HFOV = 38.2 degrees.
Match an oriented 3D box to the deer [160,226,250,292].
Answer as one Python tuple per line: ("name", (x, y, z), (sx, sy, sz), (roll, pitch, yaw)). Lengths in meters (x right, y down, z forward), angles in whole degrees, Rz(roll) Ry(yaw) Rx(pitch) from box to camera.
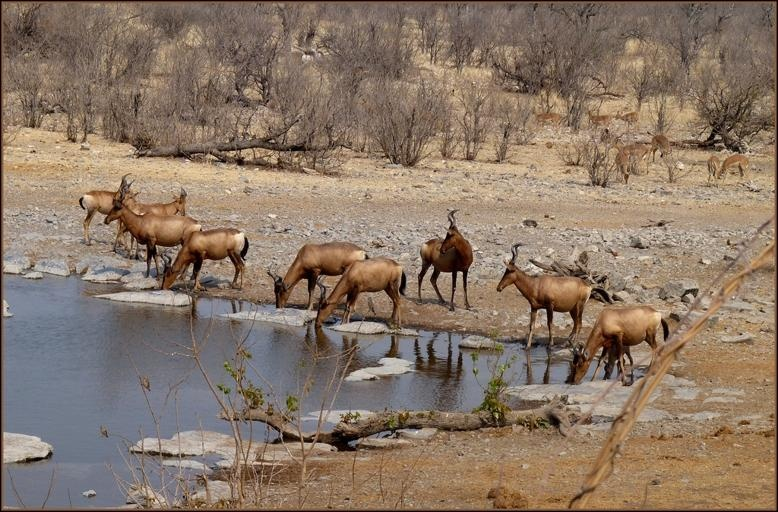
("deer", (-5.725, 0.103, 35.026), (2.452, 1.985, 0.711), (3, 6, -14))

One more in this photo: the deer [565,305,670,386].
("deer", (5.984, 2.412, 29.660), (3.139, 1.848, 0.823), (-23, 10, -5))

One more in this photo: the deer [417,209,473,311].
("deer", (1.824, 0.192, 34.758), (1.033, 2.732, 4.061), (-7, 4, -13))

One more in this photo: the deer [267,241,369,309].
("deer", (-2.244, 0.431, 34.786), (4.064, 2.137, 1.324), (-12, 0, 6))

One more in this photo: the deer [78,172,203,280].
("deer", (-8.907, -0.963, 37.360), (5.933, 4.277, 2.130), (2, 0, 6))
